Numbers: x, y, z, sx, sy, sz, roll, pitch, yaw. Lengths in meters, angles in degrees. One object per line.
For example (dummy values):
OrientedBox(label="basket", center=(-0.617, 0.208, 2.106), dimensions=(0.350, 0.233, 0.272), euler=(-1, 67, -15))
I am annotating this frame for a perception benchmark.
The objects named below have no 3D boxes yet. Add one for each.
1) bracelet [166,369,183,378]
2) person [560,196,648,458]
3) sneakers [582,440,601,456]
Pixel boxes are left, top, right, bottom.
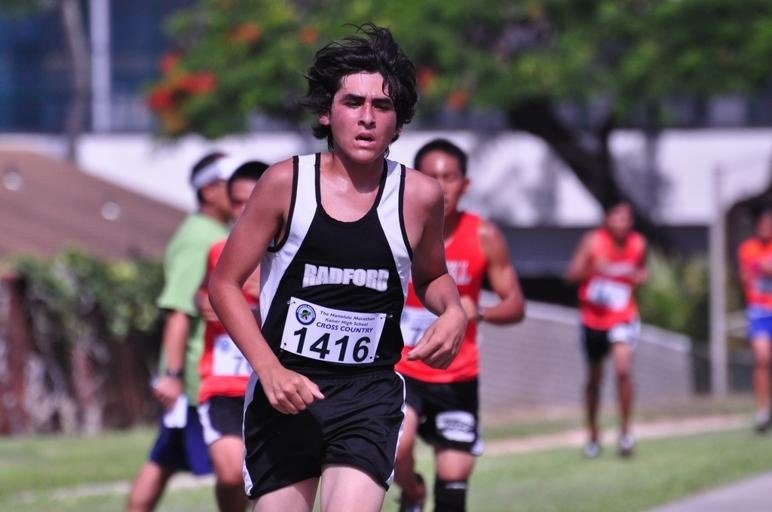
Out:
OrientedBox(label="bracelet", center=(-1.416, 0.793, 7.149), dimensions=(0.110, 0.063, 0.044), euler=(-1, 1, -14))
OrientedBox(label="person", center=(1.703, 0.565, 8.216), dimensions=(0.619, 1.958, 0.251), euler=(0, 1, 12))
OrientedBox(label="sneakers", center=(1.573, 1.480, 8.217), dimensions=(0.103, 0.120, 0.123), euler=(0, -6, 14))
